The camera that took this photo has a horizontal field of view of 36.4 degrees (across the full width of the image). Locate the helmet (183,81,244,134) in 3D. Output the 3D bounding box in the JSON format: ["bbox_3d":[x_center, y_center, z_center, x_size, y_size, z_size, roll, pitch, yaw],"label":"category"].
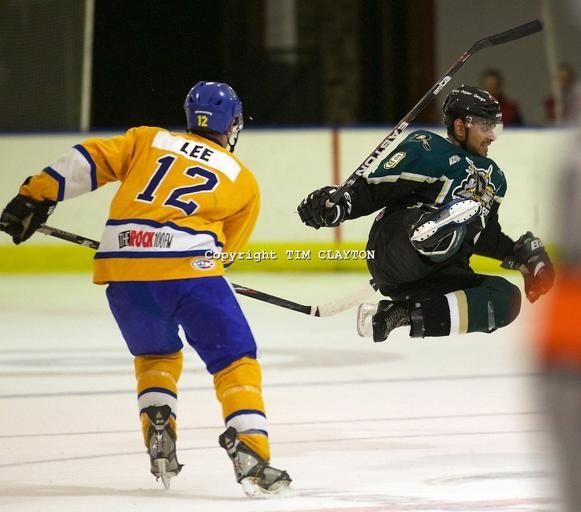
[{"bbox_3d":[-0.236,-0.503,2.998,0.180,0.167,0.198,6,16,11],"label":"helmet"}]

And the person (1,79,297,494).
[{"bbox_3d":[-0.445,0.138,2.695,0.870,1.069,0.562,-1,8,1],"label":"person"}]

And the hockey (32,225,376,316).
[{"bbox_3d":[-0.428,0.012,3.793,1.615,0.063,0.491,9,20,24],"label":"hockey"}]

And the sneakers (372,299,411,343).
[{"bbox_3d":[0.382,0.251,3.502,0.168,0.150,0.099,-6,9,-31],"label":"sneakers"}]

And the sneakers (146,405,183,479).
[{"bbox_3d":[-0.378,0.569,2.626,0.100,0.226,0.167,-3,8,-11],"label":"sneakers"}]

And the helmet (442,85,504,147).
[{"bbox_3d":[0.731,-0.591,3.671,0.290,0.256,0.234,6,6,22],"label":"helmet"}]
